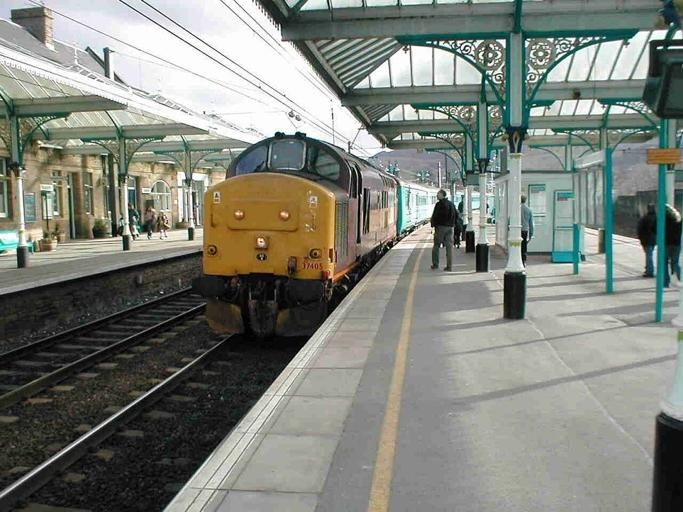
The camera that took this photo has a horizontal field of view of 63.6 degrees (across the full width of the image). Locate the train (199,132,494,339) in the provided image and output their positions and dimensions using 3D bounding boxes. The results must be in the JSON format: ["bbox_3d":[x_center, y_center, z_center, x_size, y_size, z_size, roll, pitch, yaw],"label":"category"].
[{"bbox_3d":[-0.537,-0.720,13.015,2.217,4.051,7.543,0,9,12],"label":"train"}]
